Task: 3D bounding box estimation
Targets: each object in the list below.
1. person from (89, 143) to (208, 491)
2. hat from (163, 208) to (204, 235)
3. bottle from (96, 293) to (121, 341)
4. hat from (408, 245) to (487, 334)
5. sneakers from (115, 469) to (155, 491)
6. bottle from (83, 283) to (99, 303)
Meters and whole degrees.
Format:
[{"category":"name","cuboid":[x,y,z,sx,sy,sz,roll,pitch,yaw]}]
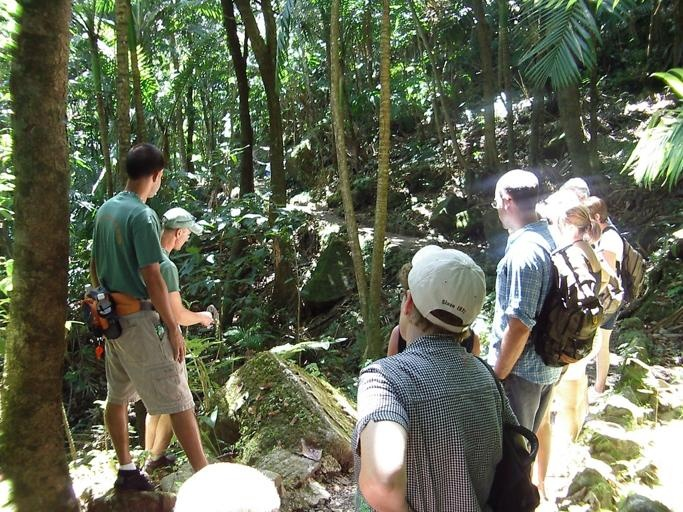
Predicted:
[{"category":"person","cuboid":[-1.376,0.386,3.941,0.650,2.077,0.519,-6,3,-16]},{"category":"hat","cuboid":[-1.266,-0.257,4.583,0.303,0.191,0.213,0,27,-30]},{"category":"bottle","cuboid":[-1.560,0.382,3.811,0.125,0.304,0.077,-5,3,8]},{"category":"hat","cuboid":[0.457,0.145,2.556,0.261,0.231,0.408,9,37,-10]},{"category":"sneakers","cuboid":[-1.338,1.496,3.798,0.304,0.150,0.110,14,-6,-27]},{"category":"bottle","cuboid":[-1.747,0.256,3.977,0.093,0.114,0.174,-31,17,-21]}]
